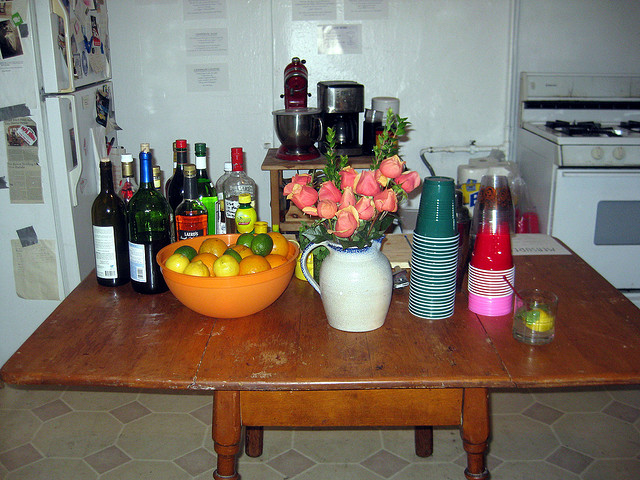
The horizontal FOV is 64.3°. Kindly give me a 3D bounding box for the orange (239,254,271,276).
[{"bbox_3d":[-0.183,0.071,1.412,0.057,0.060,0.062,0,22,-7],"label":"orange"}]

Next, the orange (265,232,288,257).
[{"bbox_3d":[-0.122,0.015,1.599,0.064,0.077,0.063,-15,24,-39],"label":"orange"}]

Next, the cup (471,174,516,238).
[{"bbox_3d":[0.525,-0.097,1.520,0.135,0.190,0.131,-3,13,1],"label":"cup"}]

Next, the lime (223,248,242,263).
[{"bbox_3d":[-0.250,0.041,1.477,0.034,0.025,0.044,18,37,-46],"label":"lime"}]

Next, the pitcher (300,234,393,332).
[{"bbox_3d":[0.091,0.125,1.483,0.265,0.252,0.202,-1,7,4],"label":"pitcher"}]

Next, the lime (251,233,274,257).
[{"bbox_3d":[-0.171,0.017,1.515,0.051,0.068,0.053,6,-27,8],"label":"lime"}]

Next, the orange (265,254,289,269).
[{"bbox_3d":[-0.123,0.058,1.464,0.042,0.049,0.040,9,-24,-31],"label":"orange"}]

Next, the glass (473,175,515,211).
[{"bbox_3d":[0.521,-0.136,1.521,0.123,0.117,0.122,-8,12,-38],"label":"glass"}]

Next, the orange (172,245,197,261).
[{"bbox_3d":[-0.395,0.034,1.494,0.050,0.060,0.049,-3,5,-30],"label":"orange"}]

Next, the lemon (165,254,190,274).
[{"bbox_3d":[-0.401,0.066,1.438,0.053,0.063,0.053,1,19,2],"label":"lemon"}]

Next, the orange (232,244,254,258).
[{"bbox_3d":[-0.232,0.025,1.530,0.041,0.024,0.044,18,16,-21],"label":"orange"}]

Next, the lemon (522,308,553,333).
[{"bbox_3d":[0.579,0.218,1.323,0.060,0.037,0.061,3,21,13],"label":"lemon"}]

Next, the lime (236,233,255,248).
[{"bbox_3d":[-0.226,0.001,1.569,0.045,0.043,0.053,13,23,-13],"label":"lime"}]

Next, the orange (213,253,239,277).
[{"bbox_3d":[-0.258,0.074,1.395,0.057,0.069,0.059,-4,34,12],"label":"orange"}]

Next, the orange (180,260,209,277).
[{"bbox_3d":[-0.336,0.082,1.397,0.047,0.058,0.049,5,13,-3],"label":"orange"}]

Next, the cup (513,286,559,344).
[{"bbox_3d":[0.565,0.201,1.409,0.122,0.143,0.134,0,13,0],"label":"cup"}]

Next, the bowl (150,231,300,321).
[{"bbox_3d":[-0.281,0.109,1.542,0.405,0.191,0.406,0,15,0],"label":"bowl"}]
